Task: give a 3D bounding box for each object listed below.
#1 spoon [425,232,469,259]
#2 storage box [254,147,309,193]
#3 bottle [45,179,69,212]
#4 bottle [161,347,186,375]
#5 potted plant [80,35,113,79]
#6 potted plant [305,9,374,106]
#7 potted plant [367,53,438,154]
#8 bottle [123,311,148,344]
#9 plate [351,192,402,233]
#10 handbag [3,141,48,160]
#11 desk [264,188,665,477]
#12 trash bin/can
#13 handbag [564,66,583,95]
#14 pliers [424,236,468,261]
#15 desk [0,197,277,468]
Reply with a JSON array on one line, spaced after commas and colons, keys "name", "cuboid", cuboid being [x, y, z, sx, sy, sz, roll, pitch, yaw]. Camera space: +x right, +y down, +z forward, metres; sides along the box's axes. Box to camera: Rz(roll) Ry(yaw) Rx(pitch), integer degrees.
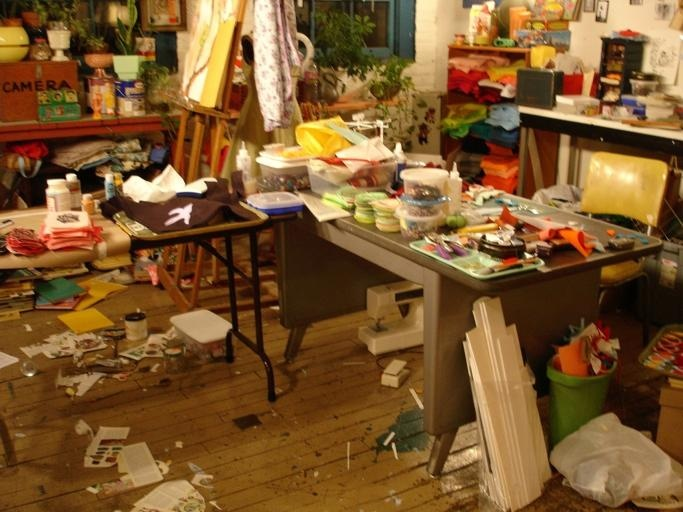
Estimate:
[{"name": "spoon", "cuboid": [0.416, -0.048, 2.045, 0.082, 0.036, 0.127, -10, 25, -26]}, {"name": "storage box", "cuboid": [-0.321, -0.509, 2.950, 0.277, 0.188, 0.337, -14, 24, -38]}, {"name": "bottle", "cuboid": [-1.318, -0.283, 2.382, 0.108, 0.156, 0.107, 6, 15, -2]}, {"name": "bottle", "cuboid": [-0.995, 0.621, 3.047, 0.133, 0.141, 0.141, 3, 17, 2]}, {"name": "potted plant", "cuboid": [-2.141, -1.774, 4.488, 0.279, 0.420, 0.282, -9, 47, -24]}, {"name": "potted plant", "cuboid": [-0.004, -1.972, 4.857, 0.910, 0.861, 0.321, 2, -4, -8]}, {"name": "potted plant", "cuboid": [0.699, -1.621, 5.490, 1.017, 1.023, 0.568, -19, 27, -40]}, {"name": "bottle", "cuboid": [-1.355, 0.469, 3.411, 0.183, 0.192, 0.183, -1, 16, -8]}, {"name": "plate", "cuboid": [0.171, -0.213, 2.327, 0.163, 0.080, 0.201, 11, 19, 17]}, {"name": "handbag", "cuboid": [-2.570, -0.884, 4.147, 0.210, 0.079, 0.204, 4, 14, -1]}, {"name": "desk", "cuboid": [0.519, 0.270, 2.687, 1.046, 1.093, 1.581, -15, 24, -33]}, {"name": "trash bin/can", "cuboid": [1.078, 0.642, 2.344, 0.268, 0.342, 0.238, -6, 21, -3]}, {"name": "handbag", "cuboid": [2.004, -1.486, 4.361, 0.185, 0.162, 0.120, -14, 24, -32]}, {"name": "pliers", "cuboid": [0.421, -0.040, 2.032, 0.077, 0.020, 0.143, -15, 25, -16]}, {"name": "desk", "cuboid": [-1.079, 0.288, 2.977, 1.564, 1.119, 1.255, -13, 35, -25]}]
